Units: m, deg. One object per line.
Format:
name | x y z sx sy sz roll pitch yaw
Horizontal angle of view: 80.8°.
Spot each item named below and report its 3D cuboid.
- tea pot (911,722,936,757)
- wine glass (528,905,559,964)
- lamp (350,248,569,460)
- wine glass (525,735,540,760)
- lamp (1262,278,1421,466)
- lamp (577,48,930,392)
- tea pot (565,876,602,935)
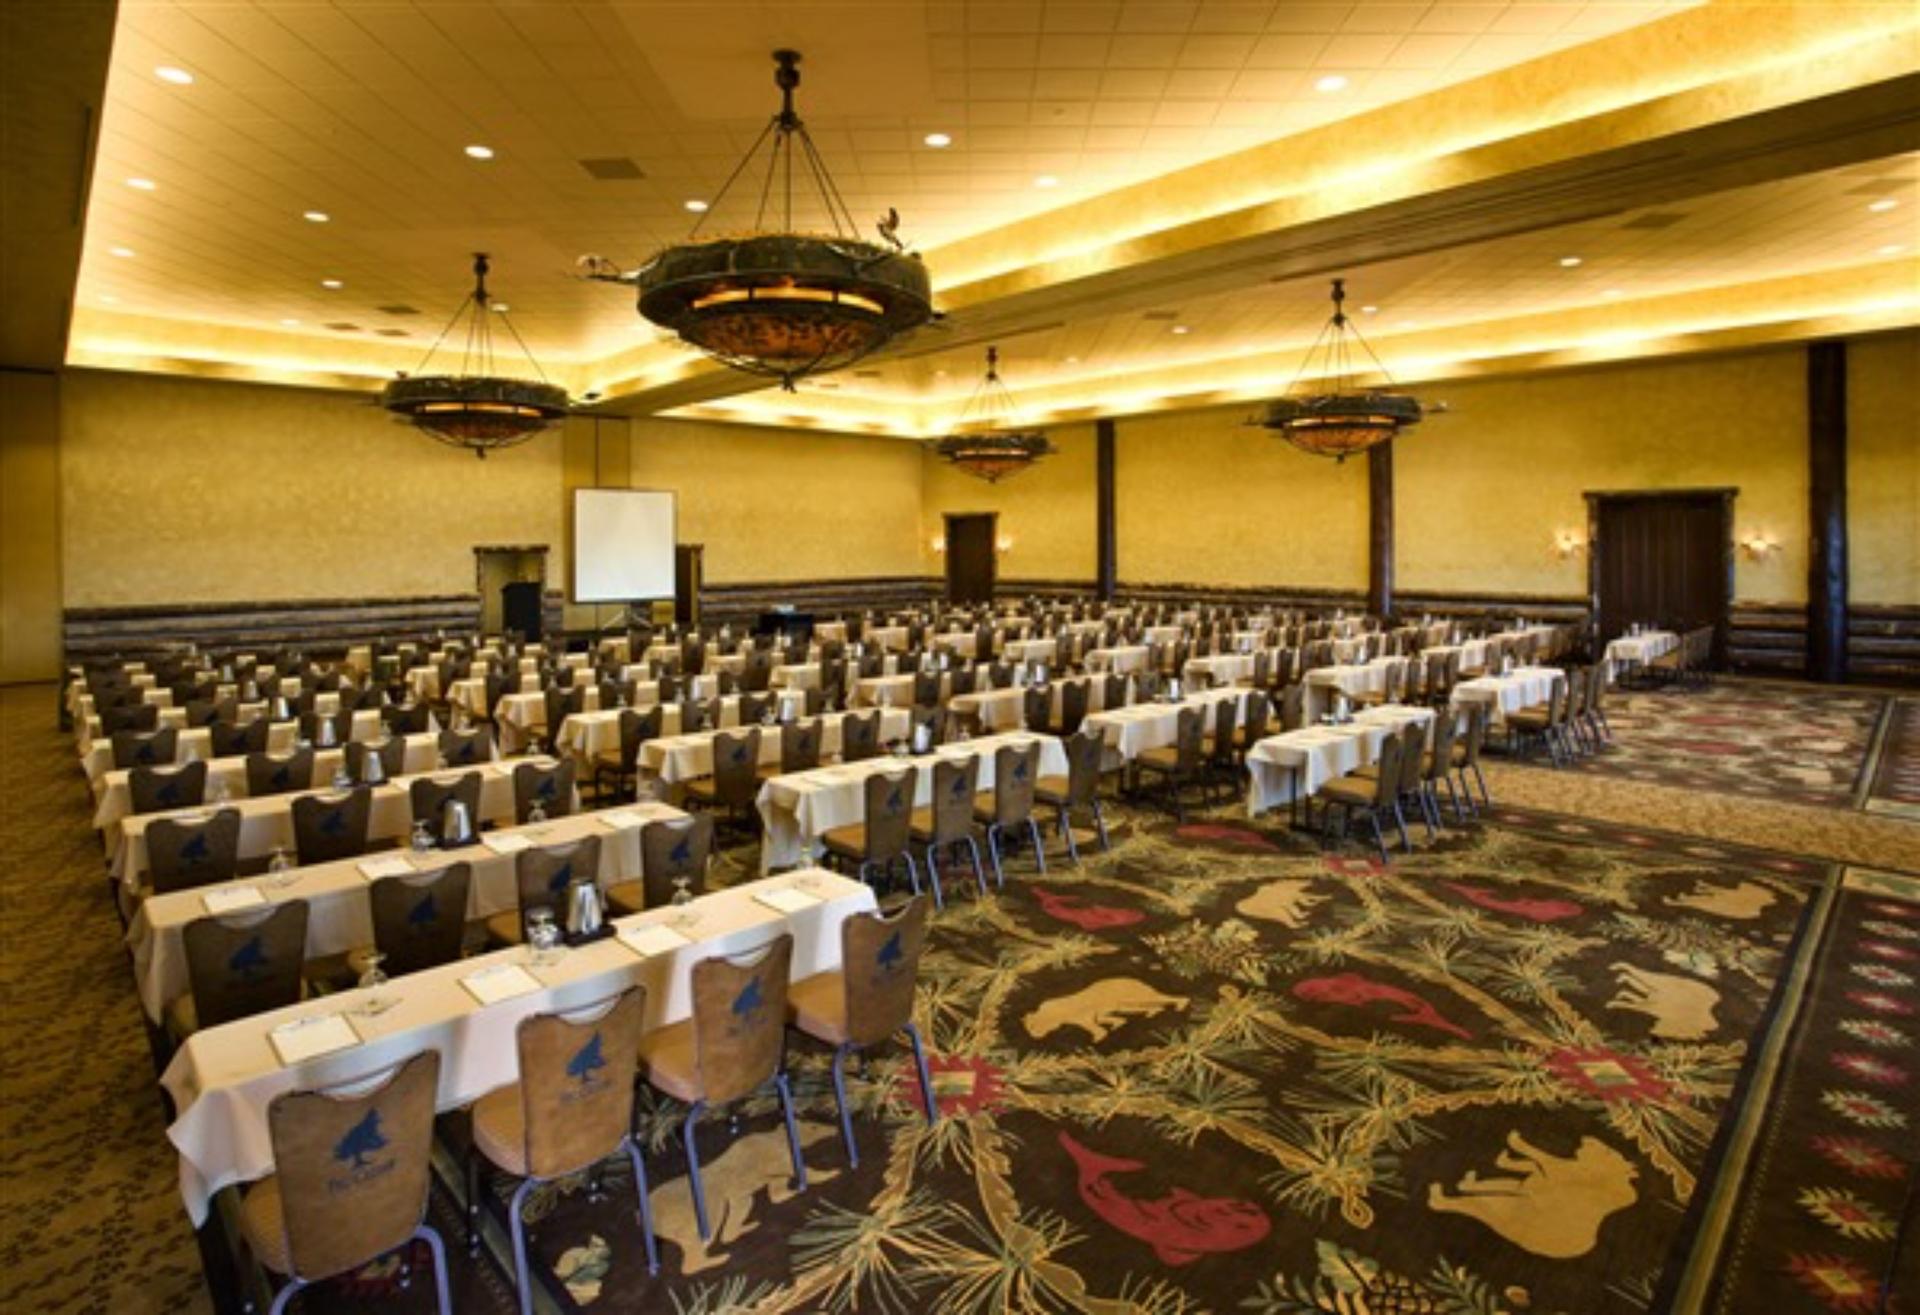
tea pot | -0.306 0.640 9.213 0.253 0.252 0.240 -1 6 0
wine glass | -2.240 1.453 6.042 0.151 0.246 0.340 -4 6 -19
lamp | -4.690 -3.003 10.994 1.962 1.709 1.740 2 9 -8
wine glass | -4.093 0.851 10.770 0.146 0.189 0.139 2 -4 -18
lamp | 4.357 -3.265 12.708 1.664 1.930 1.558 -3 6 -2
lamp | -1.142 -2.802 7.081 2.424 1.726 1.603 4 13 29
tea pot | -2.049 1.349 6.123 0.143 0.310 0.163 4 9 41
